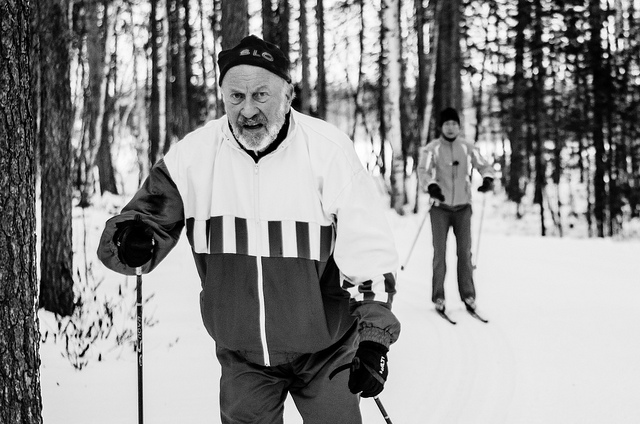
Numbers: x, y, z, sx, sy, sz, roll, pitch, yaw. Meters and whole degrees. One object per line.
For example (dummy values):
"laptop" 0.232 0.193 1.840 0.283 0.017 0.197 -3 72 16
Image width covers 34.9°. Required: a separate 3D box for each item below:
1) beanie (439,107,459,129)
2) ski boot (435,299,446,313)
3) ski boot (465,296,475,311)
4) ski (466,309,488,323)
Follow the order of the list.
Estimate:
"beanie" 2.680 -1.967 21.306 0.299 0.307 0.380 3 41 3
"ski boot" 2.458 1.940 20.862 0.148 0.254 0.062 -9 -31 7
"ski boot" 3.074 1.890 20.917 0.207 0.258 0.062 -8 -8 39
"ski" 3.194 2.126 20.841 0.079 0.110 0.580 39 -4 -42
